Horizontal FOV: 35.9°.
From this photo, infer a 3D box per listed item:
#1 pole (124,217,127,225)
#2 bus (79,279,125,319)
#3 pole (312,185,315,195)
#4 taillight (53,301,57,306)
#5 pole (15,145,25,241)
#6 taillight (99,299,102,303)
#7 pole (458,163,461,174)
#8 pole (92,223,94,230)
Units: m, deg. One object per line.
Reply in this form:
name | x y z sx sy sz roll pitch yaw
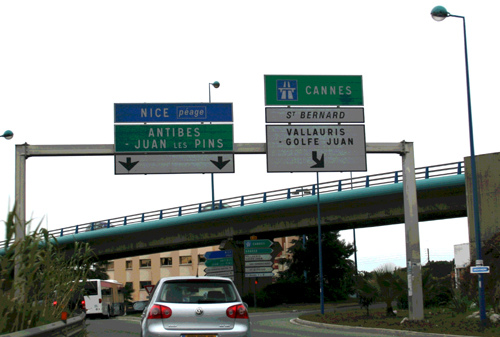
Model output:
pole | -10.730 4.511 66.259 0.236 0.644 0.519 2 -13 -18
bus | -10.944 9.817 57.754 1.944 3.026 7.864 -5 -10 3
pole | 4.813 1.641 58.486 0.246 0.661 0.185 -3 -11 3
taillight | -6.102 4.217 24.035 0.093 0.117 0.099 1 -1 -24
pole | -10.260 0.561 34.294 0.407 3.451 0.700 2 -12 -19
taillight | -10.407 9.248 53.482 0.086 0.248 0.302 -6 -14 16
pole | 14.078 -0.054 51.883 0.162 0.742 0.193 -5 -11 14
pole | -14.086 5.179 68.923 0.130 0.520 0.413 0 -13 -12
